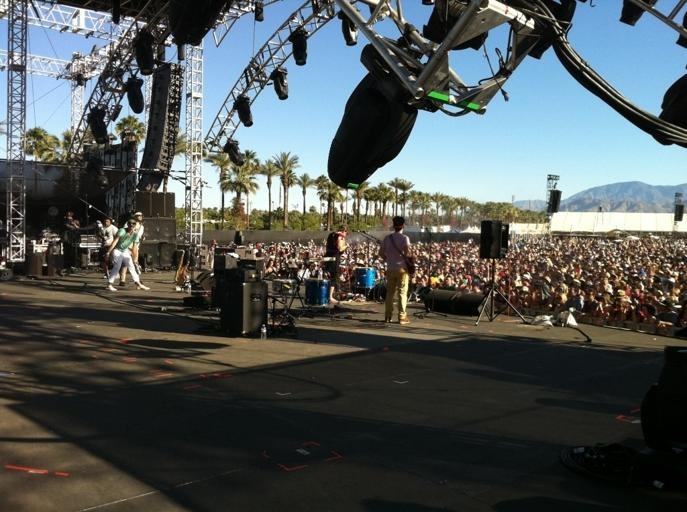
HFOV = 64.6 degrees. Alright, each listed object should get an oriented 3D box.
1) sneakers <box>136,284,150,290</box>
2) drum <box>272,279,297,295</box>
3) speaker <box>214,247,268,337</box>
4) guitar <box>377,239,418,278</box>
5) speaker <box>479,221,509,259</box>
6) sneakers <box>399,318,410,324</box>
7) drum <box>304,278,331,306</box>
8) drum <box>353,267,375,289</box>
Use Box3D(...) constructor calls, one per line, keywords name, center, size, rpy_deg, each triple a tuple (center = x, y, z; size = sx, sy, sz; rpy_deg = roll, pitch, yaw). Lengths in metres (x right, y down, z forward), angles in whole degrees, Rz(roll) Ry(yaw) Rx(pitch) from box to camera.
Box3D(name="sneakers", center=(-4.232, 0.663, 11.501), size=(0.289, 0.108, 0.134), rpy_deg=(2, 4, -11))
Box3D(name="drum", center=(-1.043, 0.523, 9.477), size=(0.366, 0.201, 0.339), rpy_deg=(2, 1, 0))
Box3D(name="speaker", center=(-1.381, 0.500, 7.341), size=(0.605, 0.964, 1.383), rpy_deg=(-1, 6, -14))
Box3D(name="guitar", center=(0.812, -0.027, 8.200), size=(0.281, 0.600, 0.476), rpy_deg=(-19, 4, -41))
Box3D(name="speaker", center=(2.368, -0.263, 8.547), size=(0.426, 0.606, 0.341), rpy_deg=(2, 7, 13))
Box3D(name="sneakers", center=(0.922, 0.984, 8.275), size=(0.067, 0.080, 0.194), rpy_deg=(4, 4, 30))
Box3D(name="drum", center=(-0.424, 0.592, 8.925), size=(0.453, 0.400, 0.430), rpy_deg=(0, 2, 10))
Box3D(name="drum", center=(0.443, 0.420, 10.654), size=(0.435, 0.377, 0.408), rpy_deg=(1, -4, -11))
